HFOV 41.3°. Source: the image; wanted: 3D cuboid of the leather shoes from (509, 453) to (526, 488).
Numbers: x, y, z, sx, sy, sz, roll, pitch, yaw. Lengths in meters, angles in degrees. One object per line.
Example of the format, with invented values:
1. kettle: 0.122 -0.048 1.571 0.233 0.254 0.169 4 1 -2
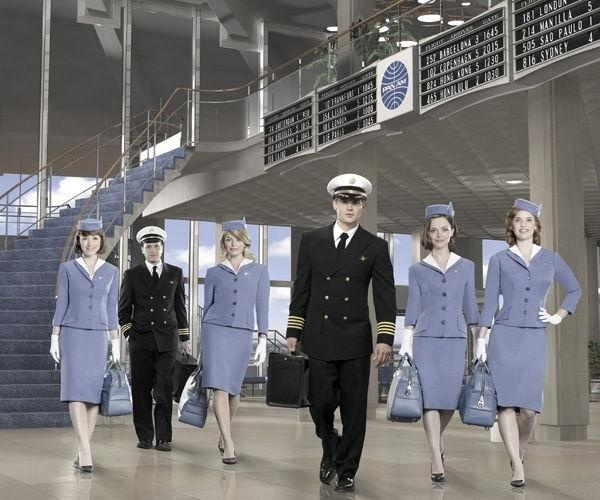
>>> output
1. leather shoes: 1.609 1.631 5.846 0.110 0.174 0.259 1 -4 16

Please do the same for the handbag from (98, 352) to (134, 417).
1. handbag: -1.628 1.153 6.695 0.325 0.593 0.634 1 -7 -16

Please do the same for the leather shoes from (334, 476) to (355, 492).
1. leather shoes: 0.299 1.622 5.548 0.135 0.101 0.096 2 -3 0

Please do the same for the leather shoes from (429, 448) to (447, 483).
1. leather shoes: 1.035 1.582 5.962 0.085 0.288 0.066 1 -27 13

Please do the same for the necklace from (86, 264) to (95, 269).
1. necklace: -1.771 0.138 6.513 0.045 0.045 0.015 1 -12 -22

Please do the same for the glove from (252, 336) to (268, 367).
1. glove: -0.375 0.867 6.923 0.181 0.299 0.093 -7 -3 0

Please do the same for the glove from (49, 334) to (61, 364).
1. glove: -2.037 0.786 6.453 0.076 0.222 0.203 3 -3 -17

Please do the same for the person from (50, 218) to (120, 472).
1. person: -1.792 0.755 6.461 0.531 1.997 0.426 3 -3 -14

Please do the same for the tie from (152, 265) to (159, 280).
1. tie: -1.451 0.219 7.647 0.039 0.150 0.040 -2 -25 -5

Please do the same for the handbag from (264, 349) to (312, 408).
1. handbag: -0.114 0.926 5.694 0.326 0.381 0.204 1 -3 11

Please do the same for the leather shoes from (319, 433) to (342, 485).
1. leather shoes: 0.184 1.539 5.824 0.125 0.420 0.162 15 14 18

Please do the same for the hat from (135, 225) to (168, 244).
1. hat: -1.936 -0.203 9.822 0.447 0.200 0.506 -1 -22 -12

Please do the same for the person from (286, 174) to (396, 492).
1. person: 0.270 0.557 5.710 0.797 2.261 0.442 2 -3 3

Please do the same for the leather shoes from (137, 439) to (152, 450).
1. leather shoes: -1.513 1.829 7.518 0.149 0.070 0.132 3 -4 -12

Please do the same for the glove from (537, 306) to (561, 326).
1. glove: 1.845 0.496 5.952 0.074 0.155 0.277 -5 -15 34

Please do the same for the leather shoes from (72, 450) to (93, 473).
1. leather shoes: -1.785 1.711 6.348 0.088 0.106 0.260 5 -9 -29

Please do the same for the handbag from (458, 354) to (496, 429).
1. handbag: 1.314 1.064 5.881 0.286 0.498 0.253 1 -3 14

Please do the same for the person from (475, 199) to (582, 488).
1. person: 1.688 0.671 5.949 0.739 2.100 0.333 3 -3 -11

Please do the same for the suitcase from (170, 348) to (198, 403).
1. suitcase: -1.110 1.158 7.278 0.149 0.426 0.453 10 -12 -20

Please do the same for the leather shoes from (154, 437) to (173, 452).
1. leather shoes: -1.321 1.808 7.414 0.102 0.112 0.262 4 -19 -10

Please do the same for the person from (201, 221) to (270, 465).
1. person: -0.598 0.767 6.816 0.578 2.055 0.342 2 -3 -6
